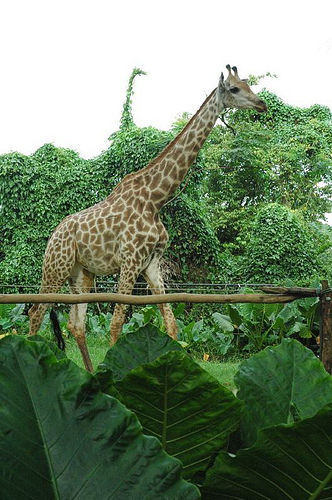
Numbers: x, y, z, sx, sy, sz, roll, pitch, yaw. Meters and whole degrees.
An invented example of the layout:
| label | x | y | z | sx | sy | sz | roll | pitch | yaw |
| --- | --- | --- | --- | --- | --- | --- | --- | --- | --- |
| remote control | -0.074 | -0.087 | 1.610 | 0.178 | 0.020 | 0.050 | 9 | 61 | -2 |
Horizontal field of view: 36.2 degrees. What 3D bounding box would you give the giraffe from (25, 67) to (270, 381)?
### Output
| label | x | y | z | sx | sy | sz | roll | pitch | yaw |
| --- | --- | --- | --- | --- | --- | --- | --- | --- | --- |
| giraffe | -0.213 | -0.551 | 4.152 | 1.800 | 2.089 | 0.837 | -7 | 2 | -12 |
